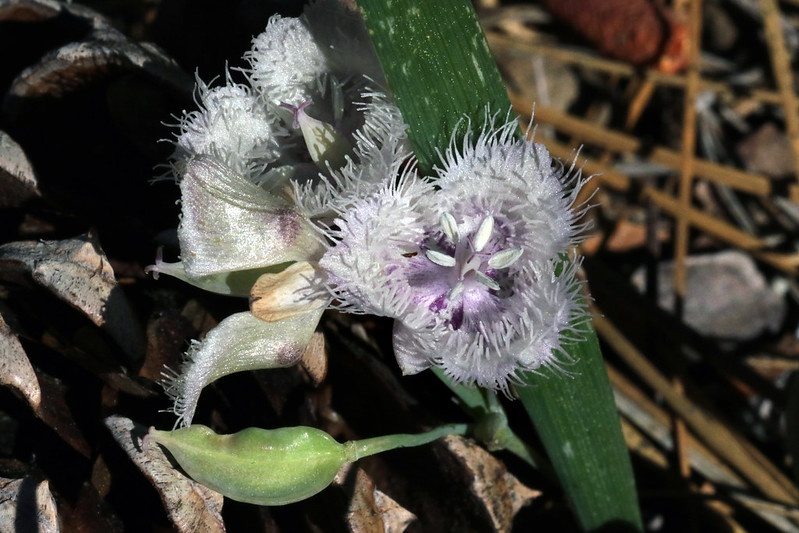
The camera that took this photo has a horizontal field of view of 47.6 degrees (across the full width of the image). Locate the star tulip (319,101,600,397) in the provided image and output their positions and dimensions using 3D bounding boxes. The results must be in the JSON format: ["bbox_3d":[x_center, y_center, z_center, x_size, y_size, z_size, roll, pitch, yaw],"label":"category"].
[{"bbox_3d":[0.241,-0.034,2.919,0.752,0.280,0.808,26,95,5],"label":"star tulip"}]

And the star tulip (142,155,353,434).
[{"bbox_3d":[-0.430,0.085,2.616,0.422,0.495,0.583,3,52,-5],"label":"star tulip"}]
